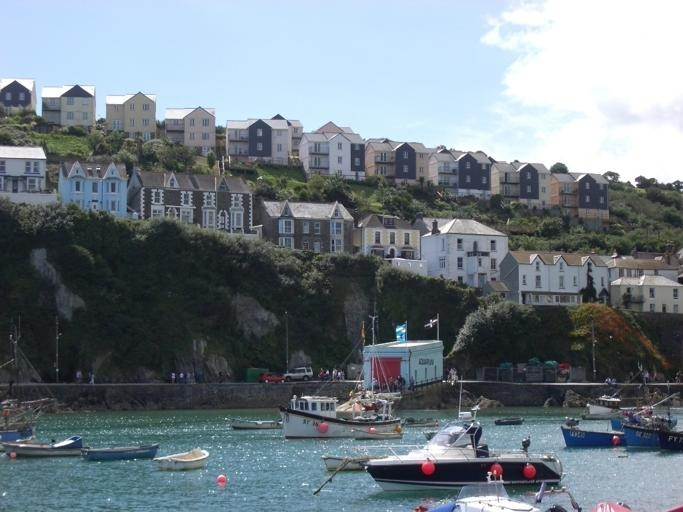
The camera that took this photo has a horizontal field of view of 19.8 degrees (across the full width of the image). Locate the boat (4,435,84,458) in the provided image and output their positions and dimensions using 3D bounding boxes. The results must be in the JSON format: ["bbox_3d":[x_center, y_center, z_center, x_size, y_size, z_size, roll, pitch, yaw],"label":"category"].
[{"bbox_3d":[-36.517,23.735,237.718,9.892,3.457,3.720,4,-9,-8],"label":"boat"}]

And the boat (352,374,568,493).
[{"bbox_3d":[13.977,23.489,226.748,20.853,7.979,1.513,1,-2,-4],"label":"boat"}]

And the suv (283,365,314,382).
[{"bbox_3d":[-5.817,16.728,271.813,2.860,1.576,1.990,3,-6,-10],"label":"suv"}]

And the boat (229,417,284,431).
[{"bbox_3d":[-10.961,21.986,250.375,5.880,1.185,2.430,5,-9,-14],"label":"boat"}]
